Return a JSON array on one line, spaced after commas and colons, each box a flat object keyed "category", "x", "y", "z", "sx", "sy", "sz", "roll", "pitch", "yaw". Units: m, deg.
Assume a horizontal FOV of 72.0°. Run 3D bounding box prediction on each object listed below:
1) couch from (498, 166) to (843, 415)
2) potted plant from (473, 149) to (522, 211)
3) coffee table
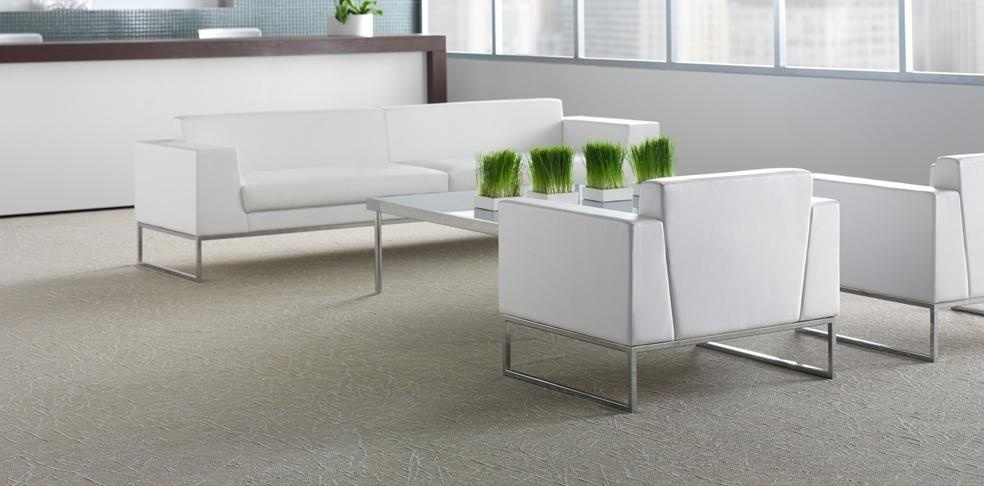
[{"category": "couch", "x": 1.021, "y": 0.198, "z": 4.032, "sx": 1.579, "sy": 0.989, "sz": 1.122, "roll": -2, "pitch": 4, "yaw": -30}, {"category": "potted plant", "x": 0.088, "y": -0.416, "z": 4.727, "sx": 0.312, "sy": 0.319, "sz": 0.355, "roll": 5, "pitch": 0, "yaw": -34}, {"category": "coffee table", "x": -0.042, "y": -0.174, "z": 4.876, "sx": 1.201, "sy": 0.454, "sz": 1.140, "roll": -3, "pitch": 6, "yaw": -36}]
